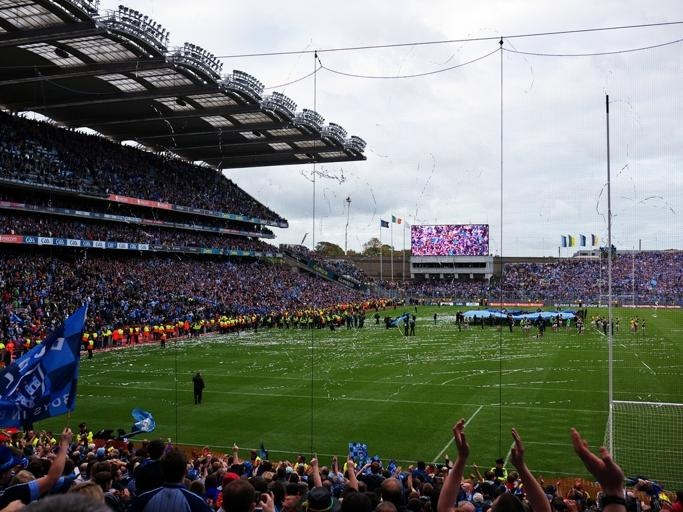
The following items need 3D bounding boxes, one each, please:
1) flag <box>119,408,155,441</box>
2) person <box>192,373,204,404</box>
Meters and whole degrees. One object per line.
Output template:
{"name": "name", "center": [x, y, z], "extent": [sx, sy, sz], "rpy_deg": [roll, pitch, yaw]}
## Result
{"name": "flag", "center": [-6.604, 5.244, 22.761], "extent": [1.536, 0.571, 1.545], "rpy_deg": [1, -1, 4]}
{"name": "person", "center": [-5.852, 5.355, 29.985], "extent": [0.394, 1.222, 1.432], "rpy_deg": [3, -4, -11]}
